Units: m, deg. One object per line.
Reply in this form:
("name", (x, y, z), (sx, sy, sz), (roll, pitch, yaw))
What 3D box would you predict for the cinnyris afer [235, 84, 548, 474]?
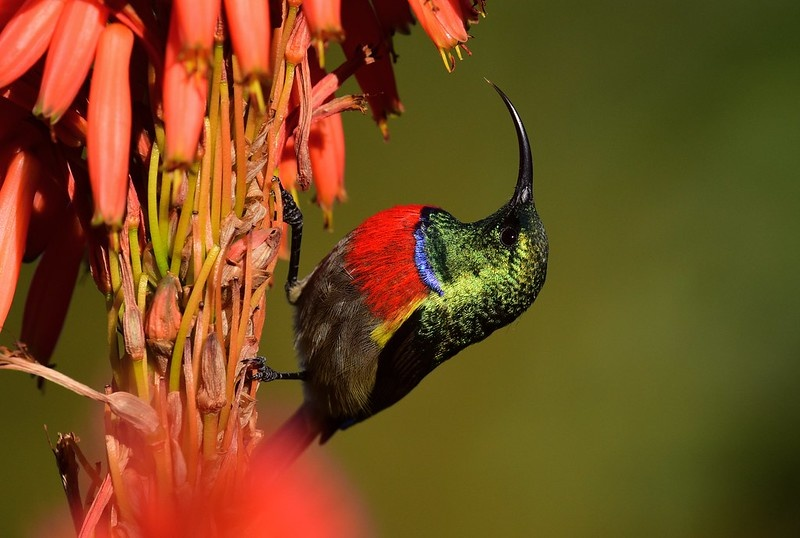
("cinnyris afer", (-0.045, 0.012, 1.072), (0.415, 0.510, 0.154), (-7, 12, 13))
